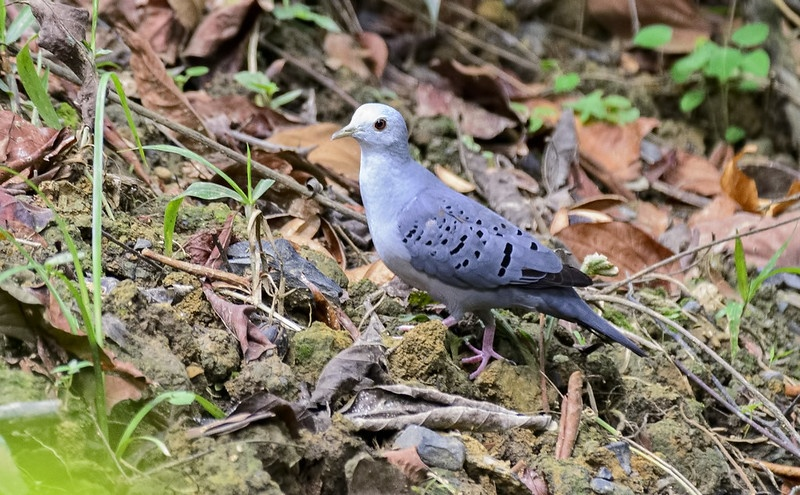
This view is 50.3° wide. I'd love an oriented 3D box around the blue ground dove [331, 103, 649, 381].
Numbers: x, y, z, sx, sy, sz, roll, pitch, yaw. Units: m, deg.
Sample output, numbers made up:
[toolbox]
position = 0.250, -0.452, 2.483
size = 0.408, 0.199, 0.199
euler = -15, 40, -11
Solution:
[blue ground dove]
position = 0.420, -0.076, 6.283
size = 1.558, 2.142, 3.215
euler = 1, 0, 9
